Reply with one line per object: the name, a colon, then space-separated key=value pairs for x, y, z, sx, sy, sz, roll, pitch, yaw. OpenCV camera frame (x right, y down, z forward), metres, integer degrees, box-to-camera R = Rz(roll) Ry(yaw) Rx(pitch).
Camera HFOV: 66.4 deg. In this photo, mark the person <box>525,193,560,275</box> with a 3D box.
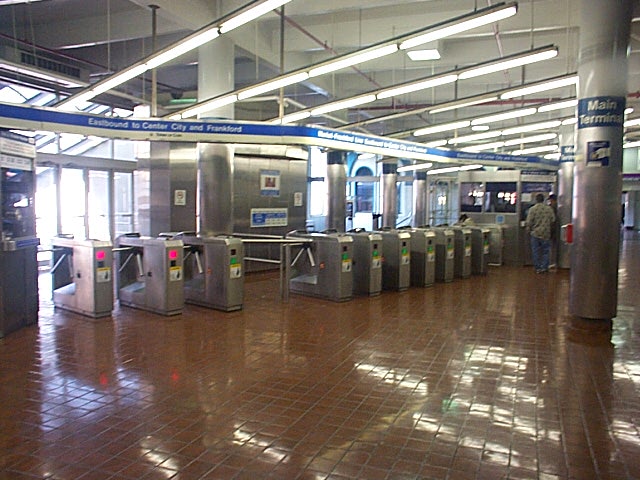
person: x=5.846 y=-0.172 z=12.979 sx=0.663 sy=2.034 sz=1.047 roll=5 pitch=11 yaw=26
